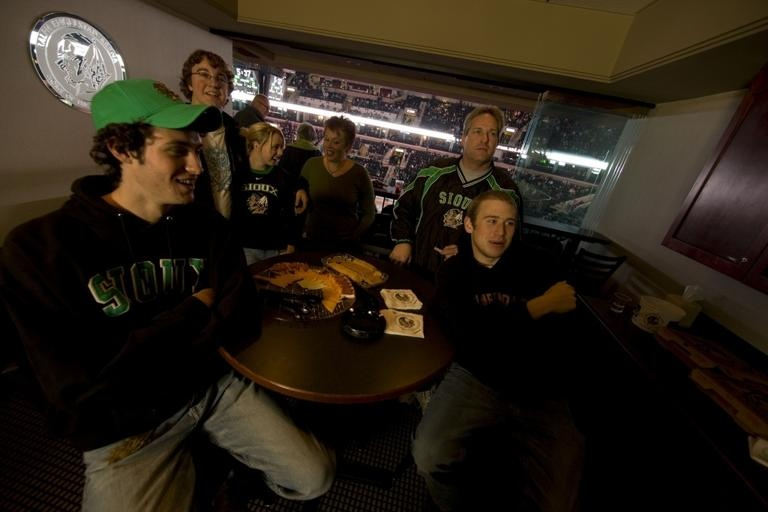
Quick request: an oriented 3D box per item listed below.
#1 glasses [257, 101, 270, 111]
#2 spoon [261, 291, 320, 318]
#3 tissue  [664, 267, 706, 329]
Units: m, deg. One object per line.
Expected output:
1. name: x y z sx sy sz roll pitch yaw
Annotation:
1. glasses: -1.549 -1.926 6.784 0.098 0.117 0.092 22 55 -36
2. spoon: -0.719 0.357 3.963 0.340 0.073 0.214 7 25 9
3. tissue : 2.605 0.364 4.688 0.357 0.630 0.378 1 13 12
